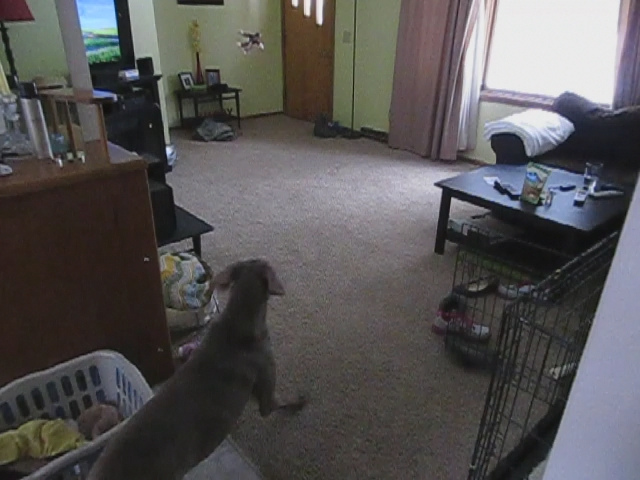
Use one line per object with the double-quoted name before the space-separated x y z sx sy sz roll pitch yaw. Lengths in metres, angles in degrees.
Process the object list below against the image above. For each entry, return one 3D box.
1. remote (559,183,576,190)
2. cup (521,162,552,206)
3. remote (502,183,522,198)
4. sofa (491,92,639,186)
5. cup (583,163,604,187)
"remote" 1.562 -0.335 2.990 0.130 0.012 0.059 -20 33 -35
"cup" 1.262 -0.328 2.761 0.121 0.217 0.149 -22 32 -40
"remote" 1.180 -0.312 2.916 0.081 0.029 0.230 3 27 6
"sofa" 1.840 -0.766 3.478 0.849 0.506 0.574 10 27 19
"cup" 1.689 -0.392 2.938 0.079 0.142 0.202 13 28 27
